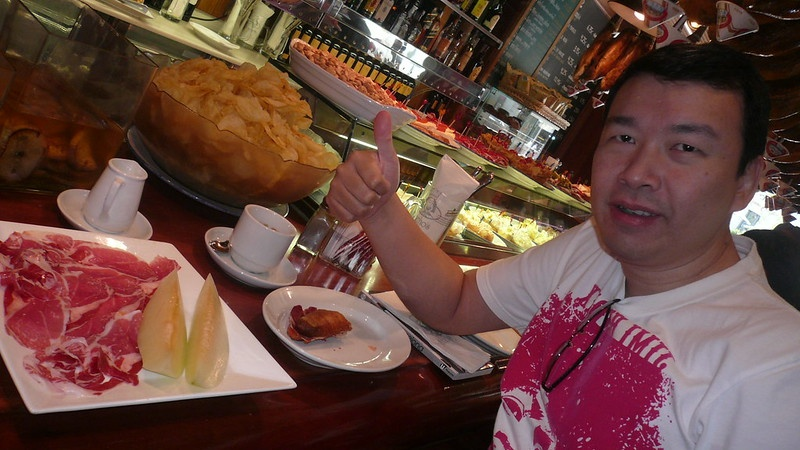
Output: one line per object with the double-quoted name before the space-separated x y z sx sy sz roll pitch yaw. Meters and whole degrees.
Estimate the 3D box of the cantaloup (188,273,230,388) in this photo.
"cantaloup" -0.402 0.227 0.942 0.103 0.103 0.268 9 60 -31

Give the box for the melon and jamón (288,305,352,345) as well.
"melon and jamón" -0.209 0.247 1.170 0.125 0.049 0.170 16 10 33

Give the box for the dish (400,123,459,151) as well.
"dish" 0.133 -0.544 2.803 0.273 0.052 0.268 18 11 -24

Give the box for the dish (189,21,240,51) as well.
"dish" -1.325 -1.319 3.157 0.352 0.073 0.258 32 16 11

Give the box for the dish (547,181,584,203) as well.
"dish" 1.313 -0.266 3.602 0.236 0.059 0.231 6 12 -43

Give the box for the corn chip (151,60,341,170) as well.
"corn chip" -0.465 -0.264 1.417 0.463 0.395 0.374 6 5 38

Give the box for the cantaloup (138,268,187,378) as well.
"cantaloup" -0.480 0.203 0.922 0.099 0.192 0.130 7 1 13
